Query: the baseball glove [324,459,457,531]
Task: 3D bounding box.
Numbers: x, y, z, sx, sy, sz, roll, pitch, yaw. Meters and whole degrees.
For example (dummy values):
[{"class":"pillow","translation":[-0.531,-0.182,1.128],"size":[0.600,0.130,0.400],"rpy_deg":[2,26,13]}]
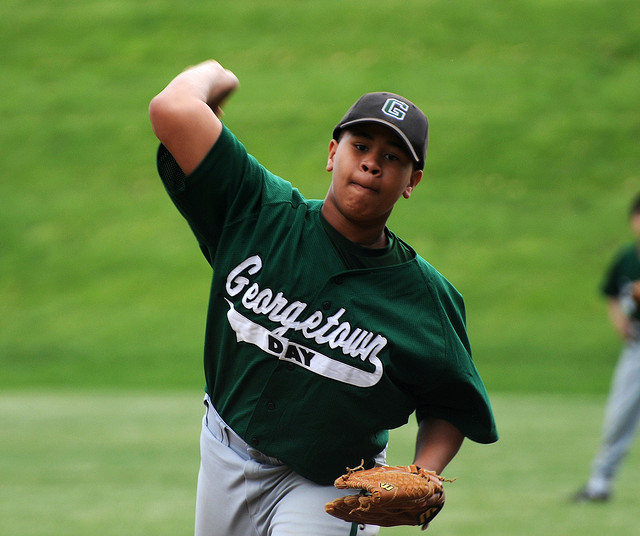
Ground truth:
[{"class":"baseball glove","translation":[0.483,1.586,8.288],"size":[0.803,0.489,0.281],"rpy_deg":[6,31,-16]}]
